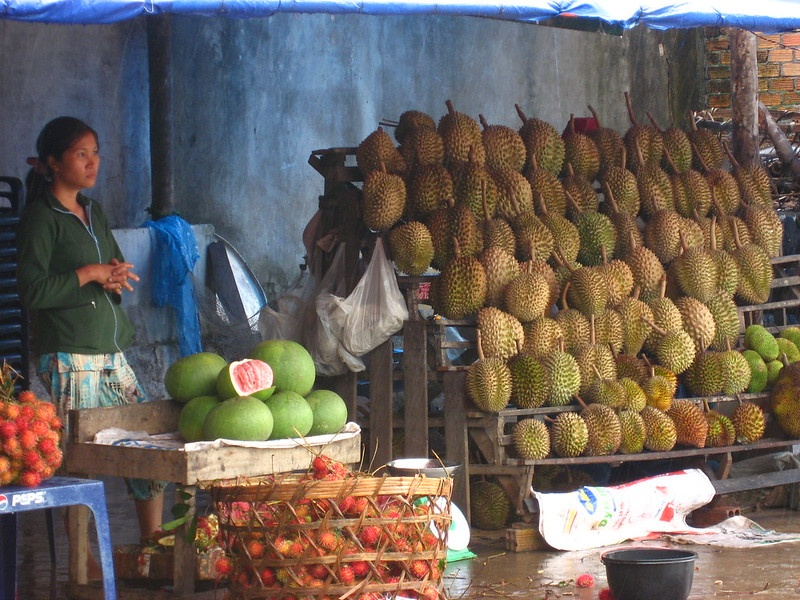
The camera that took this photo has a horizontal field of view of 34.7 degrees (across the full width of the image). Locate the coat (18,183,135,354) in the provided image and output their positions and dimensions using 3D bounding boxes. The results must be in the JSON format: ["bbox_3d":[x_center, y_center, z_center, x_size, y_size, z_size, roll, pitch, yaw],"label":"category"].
[{"bbox_3d":[-1.704,-0.133,6.793,0.391,0.925,0.644,-6,1,32],"label":"coat"}]

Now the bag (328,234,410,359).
[{"bbox_3d":[-0.175,0.007,7.882,0.291,0.690,0.436,9,4,-44],"label":"bag"}]

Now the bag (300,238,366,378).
[{"bbox_3d":[-0.425,0.001,8.087,0.467,1.061,0.449,0,-16,5],"label":"bag"}]

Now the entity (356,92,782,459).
[{"bbox_3d":[1.199,-0.171,8.180,2.820,1.640,0.995,-3,1,-20],"label":"entity"}]

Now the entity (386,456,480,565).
[{"bbox_3d":[0.282,1.228,7.325,0.328,0.408,0.287,11,-4,45],"label":"entity"}]

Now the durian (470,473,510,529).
[{"bbox_3d":[0.558,1.247,7.920,0.191,0.296,0.273,3,-1,-5],"label":"durian"}]
